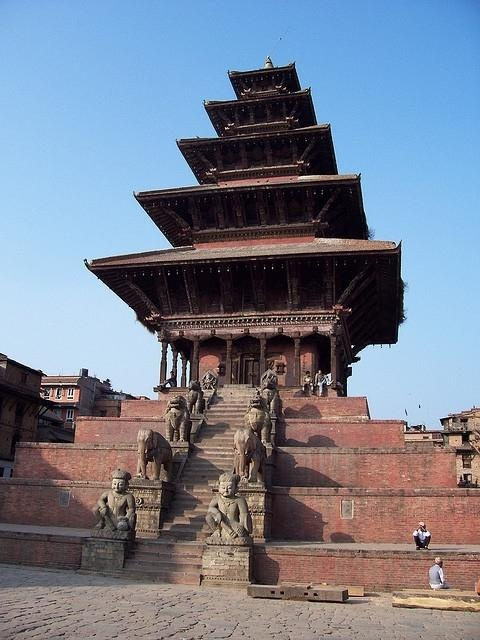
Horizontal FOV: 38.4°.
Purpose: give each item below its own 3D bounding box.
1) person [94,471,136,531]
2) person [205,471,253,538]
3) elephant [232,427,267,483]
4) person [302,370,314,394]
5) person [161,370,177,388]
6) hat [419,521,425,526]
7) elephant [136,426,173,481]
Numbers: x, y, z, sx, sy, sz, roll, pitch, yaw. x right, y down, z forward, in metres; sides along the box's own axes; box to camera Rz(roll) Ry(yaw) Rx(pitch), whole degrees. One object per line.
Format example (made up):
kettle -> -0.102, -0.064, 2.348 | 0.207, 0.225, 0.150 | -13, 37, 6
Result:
person -> -2.134, 3.198, 12.063 | 0.779, 0.992, 0.643 | -1, -7, 24
person -> -0.128, 3.141, 11.440 | 0.617, 1.055, 0.725 | 14, -16, -36
elephant -> 0.207, 2.933, 14.651 | 0.603, 0.981, 1.644 | -2, -16, 12
person -> 2.192, 2.121, 21.825 | 0.342, 0.722, 0.858 | 3, -12, 6
person -> -2.383, 2.056, 23.683 | 0.428, 0.764, 1.566 | 6, -12, -6
hat -> 3.576, 4.049, 13.507 | 0.094, 0.095, 0.124 | -6, -40, 14
elephant -> -1.861, 2.948, 14.713 | 0.591, 1.046, 1.370 | -7, -21, 14
